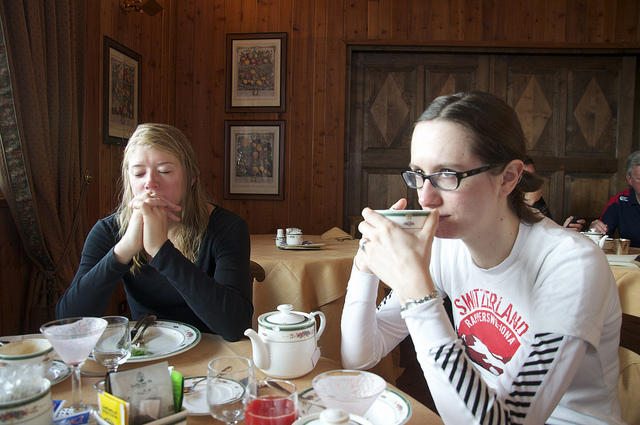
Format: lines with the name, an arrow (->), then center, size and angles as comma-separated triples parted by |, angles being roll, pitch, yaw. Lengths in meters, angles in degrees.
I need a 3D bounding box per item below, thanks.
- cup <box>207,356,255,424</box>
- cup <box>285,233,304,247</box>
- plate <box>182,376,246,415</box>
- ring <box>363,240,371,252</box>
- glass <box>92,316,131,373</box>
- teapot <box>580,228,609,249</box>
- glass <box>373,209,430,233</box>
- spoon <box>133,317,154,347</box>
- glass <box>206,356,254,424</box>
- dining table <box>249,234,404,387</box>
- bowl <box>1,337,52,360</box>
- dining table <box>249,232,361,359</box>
cup -> -0.259, 0.507, 1.351 | 0.152, 0.180, 0.167 | 0, -4, 0
cup -> -0.180, 0.199, 3.247 | 0.092, 0.066, 0.094 | -2, -3, 0
plate -> -0.317, 0.514, 1.351 | 0.143, 0.016, 0.140 | -7, 15, -32
ring -> 0.155, 0.118, 1.592 | 0.023, 0.030, 0.030 | 6, -18, -18
glass -> -0.625, 0.408, 1.418 | 0.080, 0.183, 0.103 | 1, 6, -5
teapot -> 1.890, 0.195, 3.188 | 0.110, 0.101, 0.258 | 5, 8, 29
glass -> 0.283, 0.031, 1.595 | 0.143, 0.070, 0.119 | -1, 4, -34
spoon -> -0.639, 0.442, 1.695 | 0.035, 0.010, 0.114 | 30, 27, -11
glass -> -0.250, 0.508, 1.363 | 0.120, 0.173, 0.142 | 1, 7, -7
dining table -> -0.088, 0.467, 3.085 | 0.976, 0.713, 1.004 | 0, -2, -40
bowl -> -0.890, 0.419, 1.424 | 0.092, 0.053, 0.090 | 2, -2, 0
dining table -> -0.157, 0.429, 3.035 | 0.766, 0.422, 0.795 | -2, 2, -33
